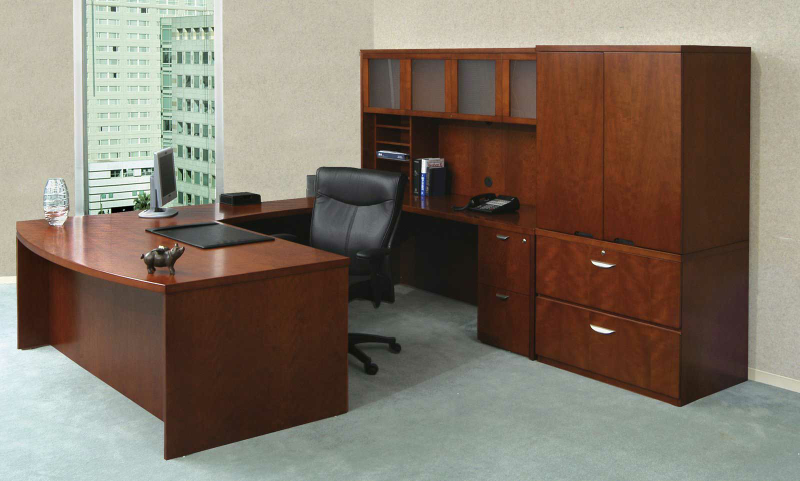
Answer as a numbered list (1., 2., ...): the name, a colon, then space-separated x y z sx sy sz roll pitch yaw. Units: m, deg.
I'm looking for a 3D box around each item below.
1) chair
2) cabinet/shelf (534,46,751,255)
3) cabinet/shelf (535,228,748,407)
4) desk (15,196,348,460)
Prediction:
1. chair: -0.611 0.223 5.383 1.185 1.661 1.277 -7 13 -42
2. cabinet/shelf: 1.970 -0.717 4.789 1.766 1.725 1.059 5 7 43
3. cabinet/shelf: 2.008 0.522 5.321 1.395 1.346 1.842 -2 6 -40
4. desk: -1.357 0.629 4.503 2.035 0.781 2.194 12 14 43
